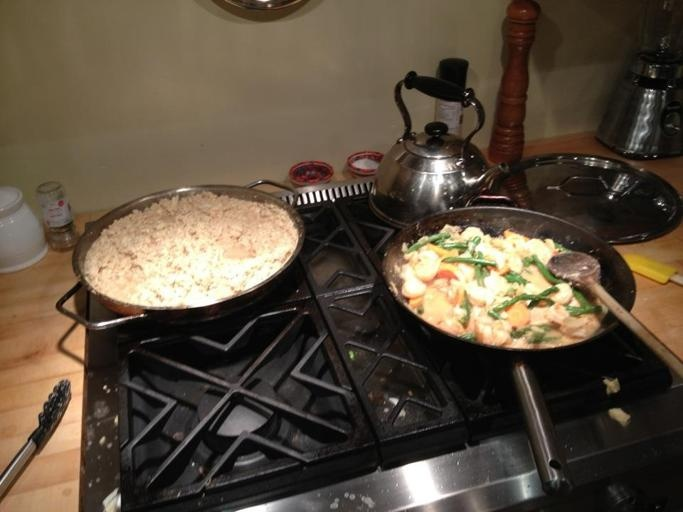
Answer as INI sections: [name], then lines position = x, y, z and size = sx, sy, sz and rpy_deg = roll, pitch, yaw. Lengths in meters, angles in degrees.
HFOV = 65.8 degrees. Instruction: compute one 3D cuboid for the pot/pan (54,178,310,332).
[pot/pan]
position = -0.374, 0.007, 1.266
size = 0.446, 0.175, 0.431
rpy_deg = -9, 30, -25
